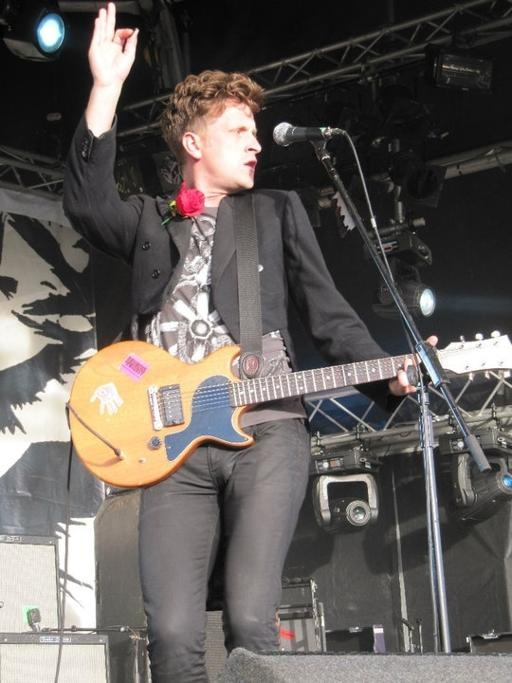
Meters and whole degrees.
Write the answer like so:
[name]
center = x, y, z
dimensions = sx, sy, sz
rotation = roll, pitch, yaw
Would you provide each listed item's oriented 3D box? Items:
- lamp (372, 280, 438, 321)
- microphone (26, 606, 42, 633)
[lamp]
center = 1.311, -0.369, 7.193
dimensions = 0.503, 0.345, 0.435
rotation = 0, 18, 33
[microphone]
center = -1.436, 1.790, 5.159
dimensions = 0.090, 0.130, 0.035
rotation = -1, -11, -34
